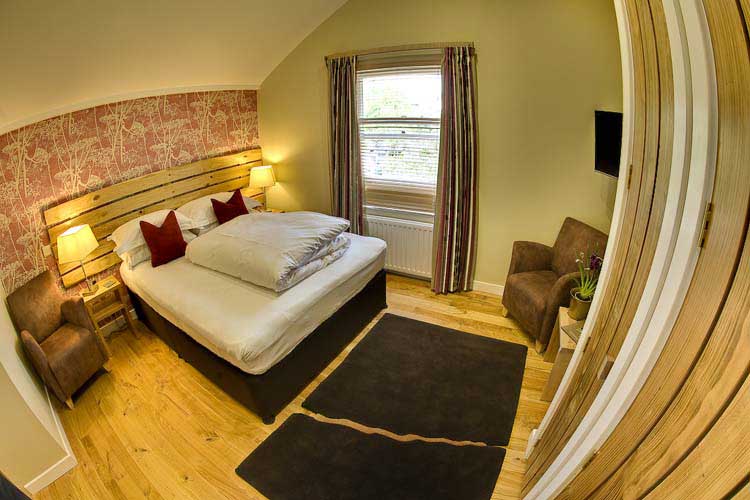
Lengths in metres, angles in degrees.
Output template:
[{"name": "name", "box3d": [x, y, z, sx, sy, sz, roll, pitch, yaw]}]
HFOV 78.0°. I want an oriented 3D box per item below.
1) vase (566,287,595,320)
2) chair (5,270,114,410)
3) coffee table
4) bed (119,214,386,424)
[{"name": "vase", "box3d": [1.657, 0.439, 3.731, 0.229, 0.259, 0.239, 1, 1, -35]}, {"name": "chair", "box3d": [-2.663, 0.750, 3.896, 0.581, 0.966, 0.631, 8, 22, 24]}, {"name": "coffee table", "box3d": [1.381, 0.764, 3.446, 0.297, 0.533, 0.554, 13, 26, 16]}, {"name": "bed", "box3d": [-0.760, 0.431, 4.077, 1.751, 0.692, 1.689, 19, 40, 31]}]
